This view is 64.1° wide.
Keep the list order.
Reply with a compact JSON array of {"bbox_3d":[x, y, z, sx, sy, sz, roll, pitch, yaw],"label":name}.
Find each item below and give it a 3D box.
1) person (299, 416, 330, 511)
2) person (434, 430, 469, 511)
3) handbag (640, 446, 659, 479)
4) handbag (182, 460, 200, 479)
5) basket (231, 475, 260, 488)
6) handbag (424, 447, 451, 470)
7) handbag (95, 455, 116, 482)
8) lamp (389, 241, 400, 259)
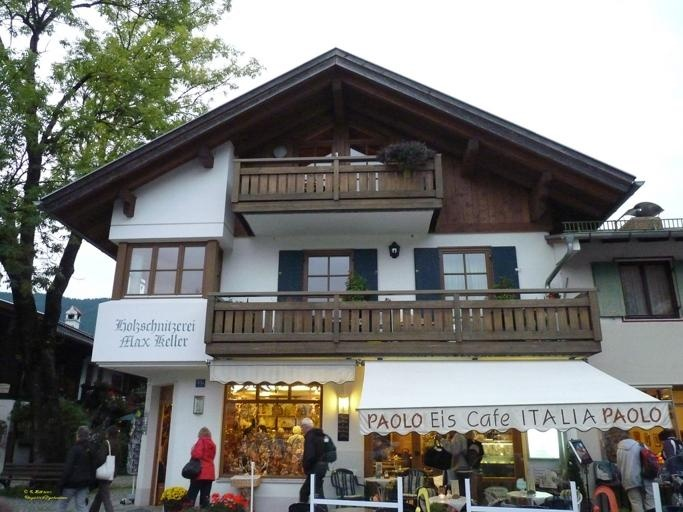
[{"bbox_3d":[-0.722,5.387,14.185,0.702,2.215,1.341,2,-21,-1],"label":"person"},{"bbox_3d":[2.970,5.499,14.288,0.750,1.642,1.513,-2,-22,10],"label":"person"},{"bbox_3d":[7.468,5.010,13.218,0.393,0.801,0.438,-10,-24,27],"label":"handbag"},{"bbox_3d":[-3.817,5.473,13.968,0.437,0.481,0.209,7,-22,-14],"label":"handbag"},{"bbox_3d":[-2.821,6.632,16.025,0.514,0.163,0.557,0,-10,-3],"label":"basket"},{"bbox_3d":[2.630,5.546,14.891,0.718,0.223,0.539,4,14,2],"label":"handbag"},{"bbox_3d":[-5.911,5.322,13.609,0.560,0.738,0.332,18,-32,-41],"label":"handbag"},{"bbox_3d":[1.761,-0.180,17.963,0.417,0.524,0.175,1,-21,3],"label":"lamp"}]
